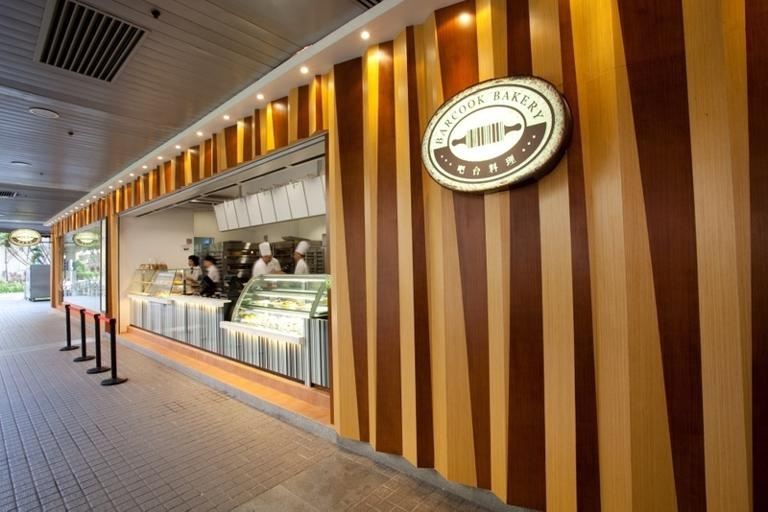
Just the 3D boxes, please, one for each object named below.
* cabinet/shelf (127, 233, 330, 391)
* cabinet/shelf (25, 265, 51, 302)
[{"bbox_3d":[-2.301,0.821,7.753,4.699,1.281,0.489,2,3,43],"label":"cabinet/shelf"},{"bbox_3d":[-11.902,0.937,18.797,0.641,1.289,0.850,-1,2,-35],"label":"cabinet/shelf"}]
